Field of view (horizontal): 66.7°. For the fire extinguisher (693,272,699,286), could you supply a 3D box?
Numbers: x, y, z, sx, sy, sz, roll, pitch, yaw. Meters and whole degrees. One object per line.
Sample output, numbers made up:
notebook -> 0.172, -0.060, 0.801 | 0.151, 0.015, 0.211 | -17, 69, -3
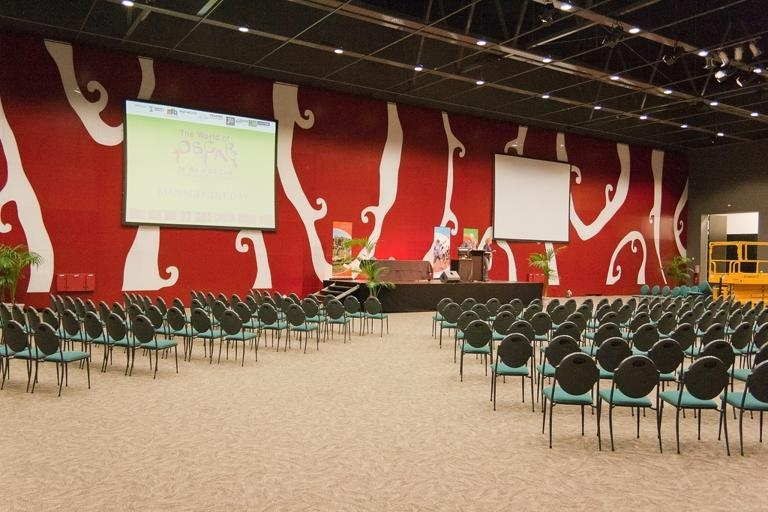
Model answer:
fire extinguisher -> 13.147, 0.919, 24.771 | 0.177, 0.526, 0.313 | -7, 15, -29
